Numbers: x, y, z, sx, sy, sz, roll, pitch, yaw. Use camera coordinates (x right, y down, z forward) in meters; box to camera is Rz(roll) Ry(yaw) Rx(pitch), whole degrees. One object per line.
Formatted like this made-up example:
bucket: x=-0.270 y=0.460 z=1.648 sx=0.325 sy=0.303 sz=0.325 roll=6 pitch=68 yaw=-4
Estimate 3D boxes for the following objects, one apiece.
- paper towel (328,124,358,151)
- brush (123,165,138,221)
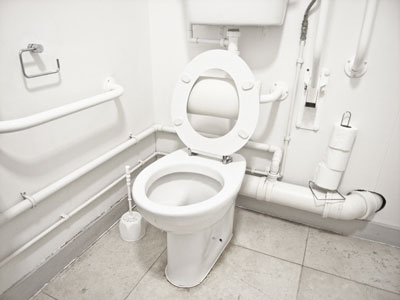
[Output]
paper towel: x=0.805 y=-0.068 z=1.615 sx=0.123 sy=0.136 sz=0.071 roll=17 pitch=32 yaw=25
brush: x=-0.437 y=0.262 z=1.741 sx=0.064 sy=0.367 sz=0.073 roll=-1 pitch=29 yaw=-10
